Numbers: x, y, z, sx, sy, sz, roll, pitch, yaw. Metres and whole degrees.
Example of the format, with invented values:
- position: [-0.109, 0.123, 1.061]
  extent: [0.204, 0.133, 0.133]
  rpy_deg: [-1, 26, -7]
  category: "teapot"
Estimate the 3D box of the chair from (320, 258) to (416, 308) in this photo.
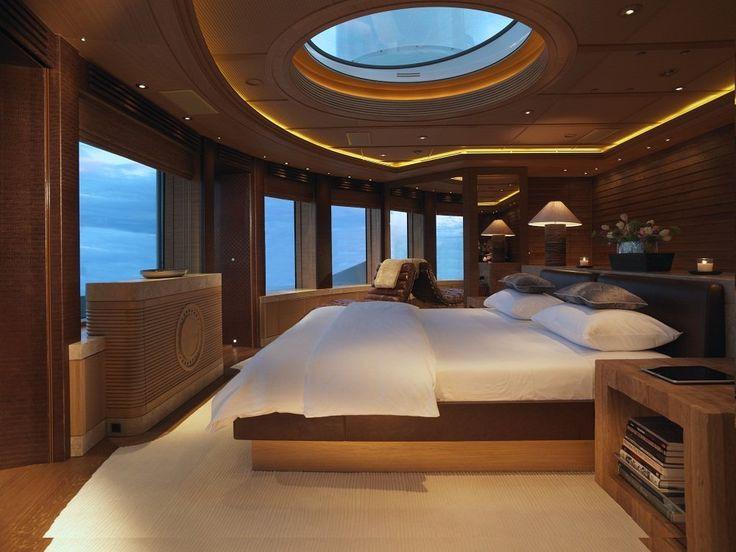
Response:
- position: [0.111, -0.020, 5.830]
  extent: [0.704, 0.419, 0.655]
  rpy_deg: [-3, 1, -28]
  category: "chair"

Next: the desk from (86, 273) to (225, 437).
- position: [-1.742, 0.511, 4.413]
  extent: [0.502, 1.089, 1.852]
  rpy_deg: [0, 4, 1]
  category: "desk"

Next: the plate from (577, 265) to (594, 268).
- position: [2.047, -0.165, 4.864]
  extent: [0.133, 0.032, 0.459]
  rpy_deg: [0, 1, 21]
  category: "plate"

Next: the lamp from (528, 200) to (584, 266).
- position: [1.940, -0.540, 5.338]
  extent: [0.600, 0.692, 0.611]
  rpy_deg: [-3, -5, 26]
  category: "lamp"

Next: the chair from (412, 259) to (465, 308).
- position: [0.817, 0.026, 6.119]
  extent: [0.725, 0.307, 0.473]
  rpy_deg: [25, -7, -24]
  category: "chair"

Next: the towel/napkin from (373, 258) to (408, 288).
- position: [0.290, -0.102, 5.966]
  extent: [0.372, 0.358, 0.142]
  rpy_deg: [3, -22, 44]
  category: "towel/napkin"

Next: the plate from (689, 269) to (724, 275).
- position: [2.401, -0.085, 3.669]
  extent: [0.149, 0.019, 0.150]
  rpy_deg: [0, -1, -1]
  category: "plate"

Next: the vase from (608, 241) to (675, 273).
- position: [2.096, -0.212, 3.996]
  extent: [0.257, 0.154, 0.382]
  rpy_deg: [0, 2, -11]
  category: "vase"
